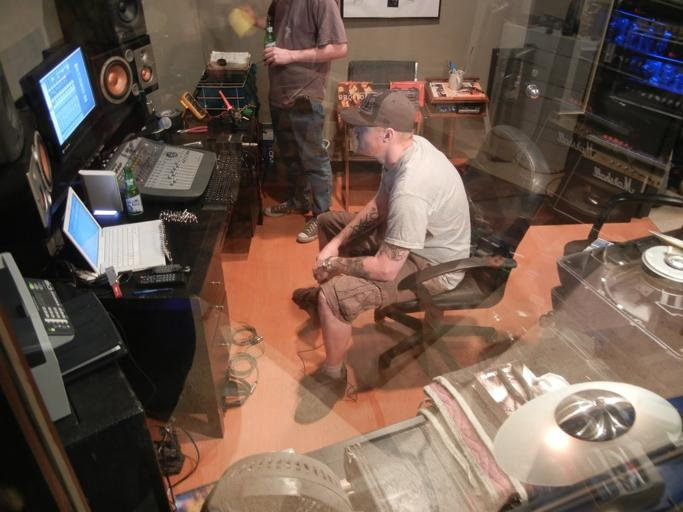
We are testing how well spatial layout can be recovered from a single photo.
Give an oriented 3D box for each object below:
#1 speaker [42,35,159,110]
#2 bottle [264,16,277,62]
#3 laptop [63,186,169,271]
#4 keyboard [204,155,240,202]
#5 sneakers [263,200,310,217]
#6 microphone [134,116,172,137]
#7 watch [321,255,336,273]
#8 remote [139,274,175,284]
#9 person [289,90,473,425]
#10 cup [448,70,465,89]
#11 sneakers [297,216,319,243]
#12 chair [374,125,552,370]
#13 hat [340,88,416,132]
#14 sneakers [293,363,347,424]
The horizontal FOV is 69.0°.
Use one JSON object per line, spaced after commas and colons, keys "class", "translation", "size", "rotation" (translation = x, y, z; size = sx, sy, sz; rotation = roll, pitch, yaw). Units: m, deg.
{"class": "speaker", "translation": [-1.384, -1.136, 3.010], "size": [0.273, 0.307, 0.510], "rotation": [14, 38, 15]}
{"class": "bottle", "translation": [-0.445, -1.345, 3.081], "size": [0.072, 0.235, 0.182], "rotation": [-5, 36, -6]}
{"class": "laptop", "translation": [-0.961, -0.120, 2.126], "size": [0.354, 0.289, 0.403], "rotation": [-13, 38, -17]}
{"class": "keyboard", "translation": [-0.665, -0.431, 2.738], "size": [0.113, 0.072, 0.363], "rotation": [3, 44, -9]}
{"class": "sneakers", "translation": [-0.421, -0.353, 3.760], "size": [0.327, 0.137, 0.135], "rotation": [2, 29, -11]}
{"class": "microphone", "translation": [-1.166, -0.812, 3.088], "size": [0.187, 0.075, 0.149], "rotation": [-22, 36, -11]}
{"class": "watch", "translation": [-0.061, 0.034, 2.498], "size": [0.067, 0.061, 0.077], "rotation": [-7, 11, 30]}
{"class": "remote", "translation": [-0.765, 0.092, 2.069], "size": [0.075, 0.018, 0.052], "rotation": [2, 19, 5]}
{"class": "person", "translation": [0.124, -0.065, 2.417], "size": [0.887, 1.282, 0.619], "rotation": [-20, 40, -25]}
{"class": "cup", "translation": [0.768, -1.200, 3.352], "size": [0.073, 0.094, 0.096], "rotation": [0, 64, 8]}
{"class": "sneakers", "translation": [-0.218, -0.207, 3.530], "size": [0.092, 0.121, 0.286], "rotation": [7, 29, 12]}
{"class": "chair", "translation": [0.546, 0.051, 2.628], "size": [0.642, 1.062, 0.717], "rotation": [1, 23, -19]}
{"class": "hat", "translation": [0.194, -0.696, 2.339], "size": [0.358, 0.183, 0.258], "rotation": [6, 27, 13]}
{"class": "sneakers", "translation": [-0.139, 0.725, 2.531], "size": [0.220, 0.179, 0.476], "rotation": [-7, -3, 3]}
